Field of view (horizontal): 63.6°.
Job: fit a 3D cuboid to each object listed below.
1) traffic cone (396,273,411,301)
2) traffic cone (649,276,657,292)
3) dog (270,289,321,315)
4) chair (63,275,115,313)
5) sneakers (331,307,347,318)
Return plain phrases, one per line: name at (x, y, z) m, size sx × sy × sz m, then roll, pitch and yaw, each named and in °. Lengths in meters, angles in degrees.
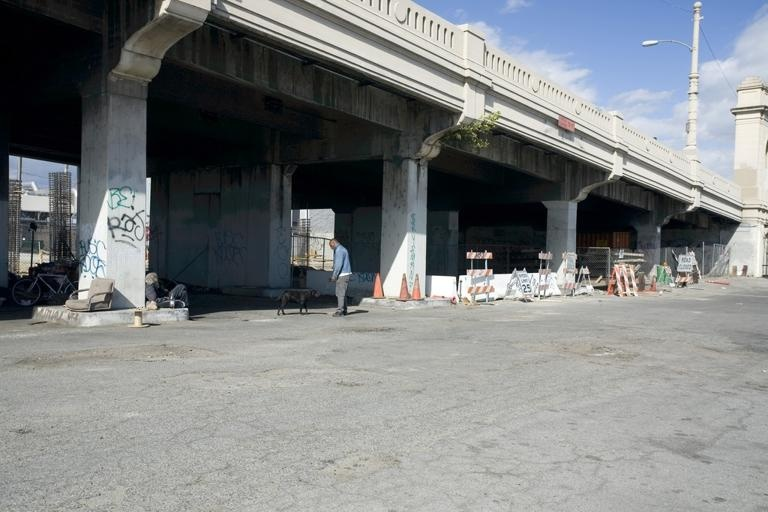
traffic cone at (0.725, 1.069, 22.499) m, size 0.412 × 0.970 × 0.948 m, roll -1°, pitch -2°, yaw 2°
traffic cone at (14.917, 1.507, 34.509) m, size 0.198 × 0.789 × 0.604 m, roll -2°, pitch -3°, yaw 31°
dog at (-2.763, 1.403, 19.243) m, size 1.148 × 0.731 × 1.006 m, roll 1°, pitch -3°, yaw -31°
chair at (-7.527, 0.949, 15.799) m, size 1.097 × 0.791 × 0.928 m, roll 2°, pitch 2°, yaw 39°
sneakers at (-1.406, 1.719, 19.174) m, size 0.453 × 0.203 × 0.197 m, roll 3°, pitch -4°, yaw 3°
